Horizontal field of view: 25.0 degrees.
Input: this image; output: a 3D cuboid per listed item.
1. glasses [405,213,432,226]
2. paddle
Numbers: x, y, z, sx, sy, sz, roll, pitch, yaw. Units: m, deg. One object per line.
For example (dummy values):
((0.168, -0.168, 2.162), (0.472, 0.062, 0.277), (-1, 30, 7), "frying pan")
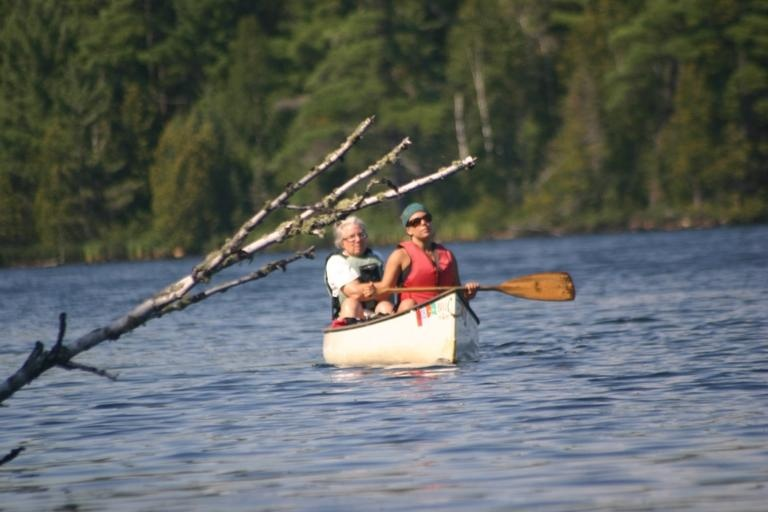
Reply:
((0.636, -0.749, 34.192), (0.517, 0.209, 0.191), (-5, 2, -10), "glasses")
((1.797, 0.700, 34.350), (3.837, 0.390, 0.878), (-4, 2, 2), "paddle")
